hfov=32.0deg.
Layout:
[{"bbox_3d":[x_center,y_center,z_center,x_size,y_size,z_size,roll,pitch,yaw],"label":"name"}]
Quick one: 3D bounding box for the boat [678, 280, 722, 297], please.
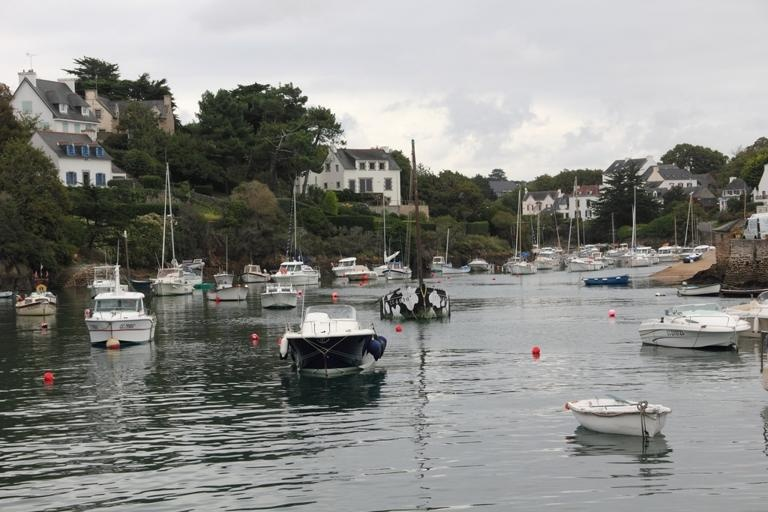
[{"bbox_3d":[30.843,3.282,132.829,4.536,1.290,1.551,-4,-3,41],"label":"boat"}]
